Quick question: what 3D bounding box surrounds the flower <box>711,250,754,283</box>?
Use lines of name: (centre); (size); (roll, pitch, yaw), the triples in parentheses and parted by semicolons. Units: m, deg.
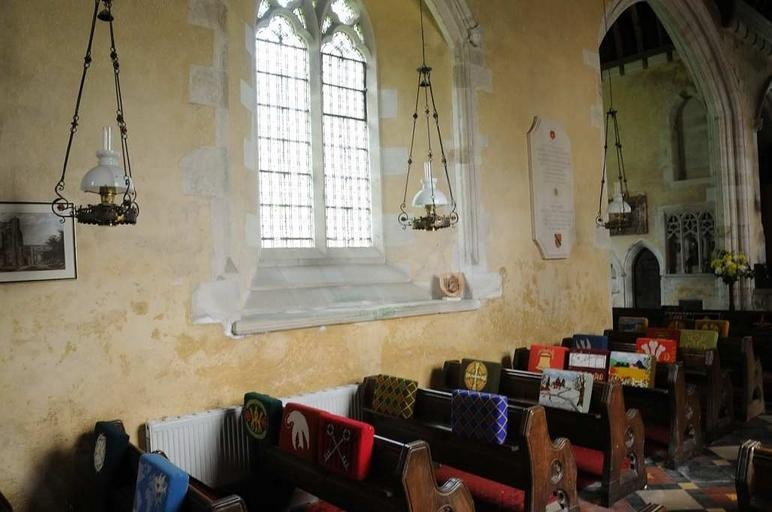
flower: (6.456, 0.179, 10.453); (0.612, 0.662, 1.355); (-3, -2, 33)

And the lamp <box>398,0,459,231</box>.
lamp: (0.531, -1.817, 6.739); (0.792, 2.475, 1.298); (-2, -1, -2)
